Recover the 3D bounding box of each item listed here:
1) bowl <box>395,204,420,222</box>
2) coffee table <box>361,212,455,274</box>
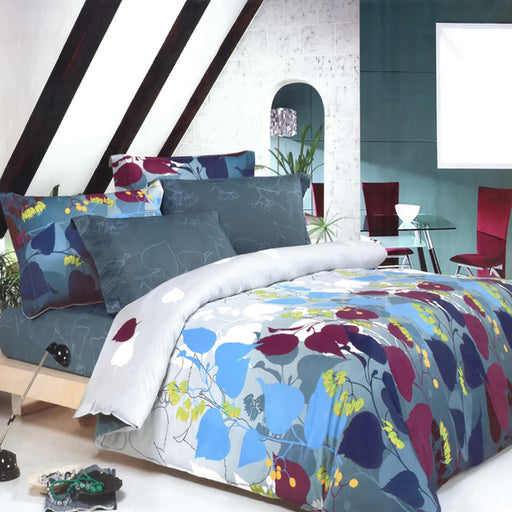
[{"bbox_3d":[1.236,-0.349,3.814,0.154,0.142,0.173,7,4,14],"label":"bowl"},{"bbox_3d":[1.198,-0.134,3.679,0.396,0.734,0.467,-3,10,-10],"label":"coffee table"}]
